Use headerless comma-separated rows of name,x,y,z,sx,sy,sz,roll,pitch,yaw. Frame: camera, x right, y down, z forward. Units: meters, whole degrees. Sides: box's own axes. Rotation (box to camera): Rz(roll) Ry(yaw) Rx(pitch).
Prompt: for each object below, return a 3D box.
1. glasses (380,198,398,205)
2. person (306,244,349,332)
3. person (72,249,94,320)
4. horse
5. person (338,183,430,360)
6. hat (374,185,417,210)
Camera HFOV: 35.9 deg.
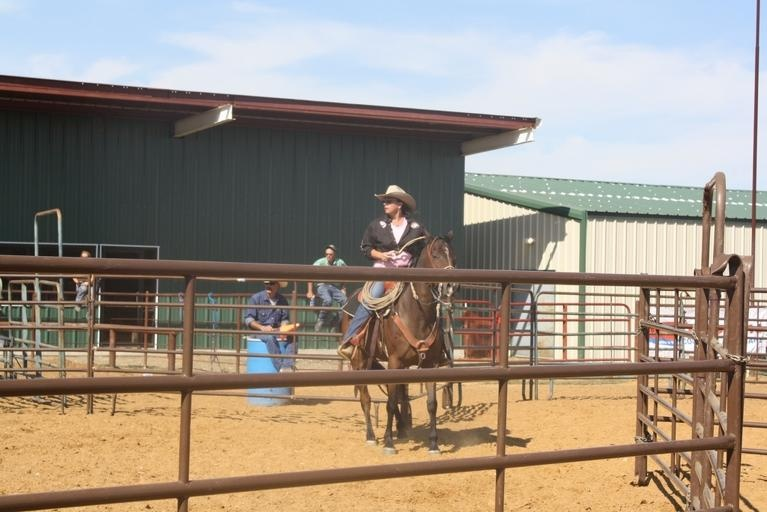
glasses,0.101,-0.894,19.461,0.333,0.100,0.166,1,2,30
person,-1.082,0.706,25.621,0.960,1.876,1.083,-3,11,-22
person,-6.060,0.524,24.124,0.341,1.005,0.379,-4,13,27
horse,0.336,1.505,19.985,1.324,3.406,4.692,0,-7,-19
person,0.175,0.252,19.521,1.084,2.737,1.108,3,13,-2
hat,0.242,-0.983,19.973,0.589,0.444,1.307,0,1,1
